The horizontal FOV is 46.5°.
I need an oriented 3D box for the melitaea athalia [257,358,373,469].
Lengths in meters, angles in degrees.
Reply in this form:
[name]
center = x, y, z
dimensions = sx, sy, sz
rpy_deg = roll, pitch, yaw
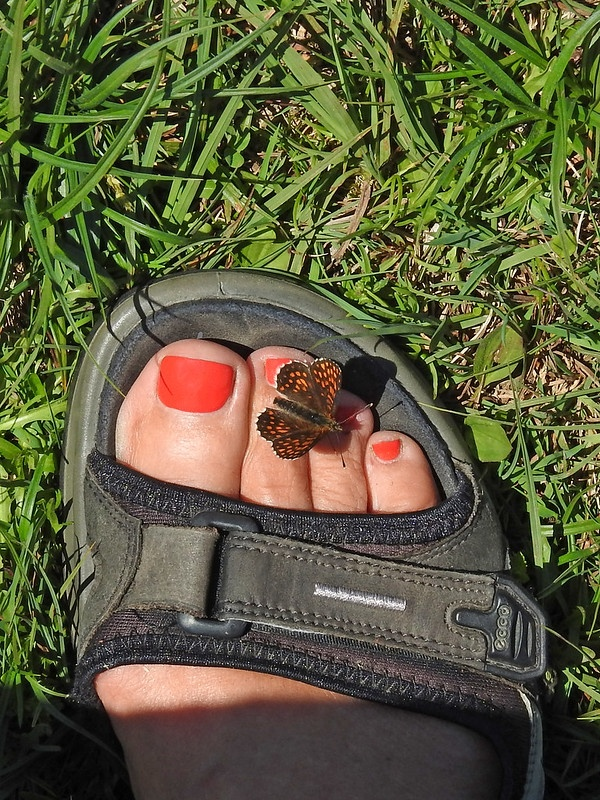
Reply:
[melitaea athalia]
center = 0.000, 0.011, 1.240
dimensions = 0.173, 0.137, 0.144
rpy_deg = -36, 83, -8
